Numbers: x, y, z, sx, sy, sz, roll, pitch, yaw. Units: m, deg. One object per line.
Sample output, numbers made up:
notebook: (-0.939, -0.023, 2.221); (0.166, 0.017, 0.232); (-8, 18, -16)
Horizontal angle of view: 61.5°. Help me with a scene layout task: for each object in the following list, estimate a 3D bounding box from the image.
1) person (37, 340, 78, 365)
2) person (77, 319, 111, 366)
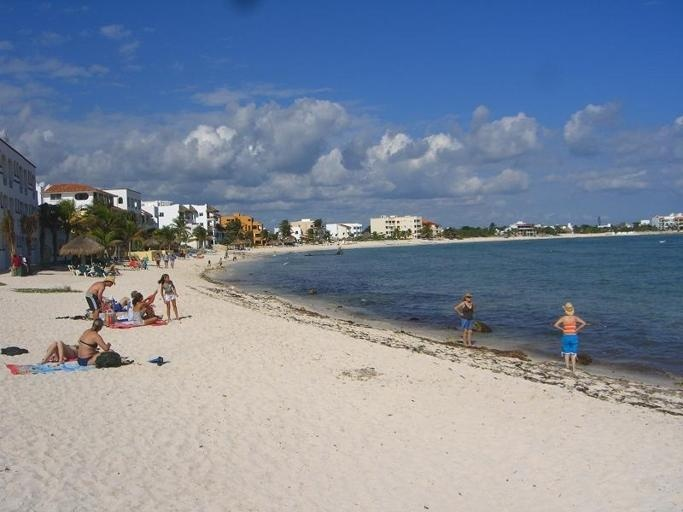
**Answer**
person: (-8.144, 2.773, 16.567); (0.986, 0.553, 0.631); (-1, 9, -36)
person: (-7.141, 2.466, 16.443); (0.831, 1.229, 0.630); (1, 9, -24)
